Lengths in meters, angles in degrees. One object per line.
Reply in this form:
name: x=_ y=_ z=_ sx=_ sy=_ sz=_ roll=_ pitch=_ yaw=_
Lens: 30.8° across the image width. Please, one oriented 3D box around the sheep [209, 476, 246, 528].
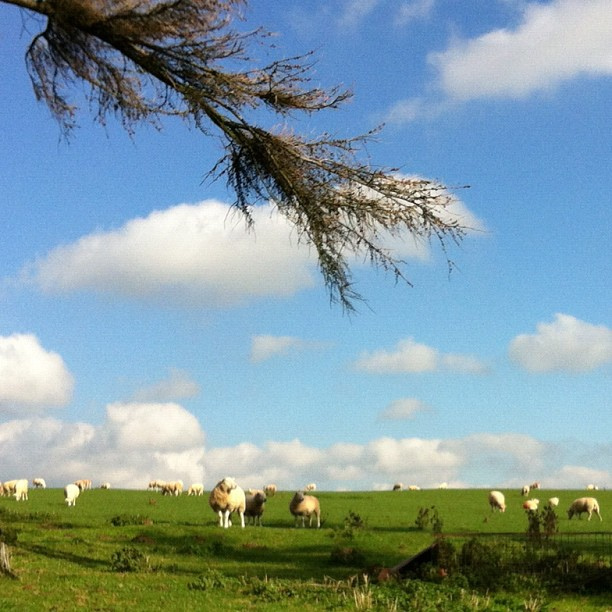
sheep: x=-3.137 y=8.023 z=44.716 sx=1.239 sy=1.972 sz=2.216 roll=-3 pitch=-15 yaw=7
